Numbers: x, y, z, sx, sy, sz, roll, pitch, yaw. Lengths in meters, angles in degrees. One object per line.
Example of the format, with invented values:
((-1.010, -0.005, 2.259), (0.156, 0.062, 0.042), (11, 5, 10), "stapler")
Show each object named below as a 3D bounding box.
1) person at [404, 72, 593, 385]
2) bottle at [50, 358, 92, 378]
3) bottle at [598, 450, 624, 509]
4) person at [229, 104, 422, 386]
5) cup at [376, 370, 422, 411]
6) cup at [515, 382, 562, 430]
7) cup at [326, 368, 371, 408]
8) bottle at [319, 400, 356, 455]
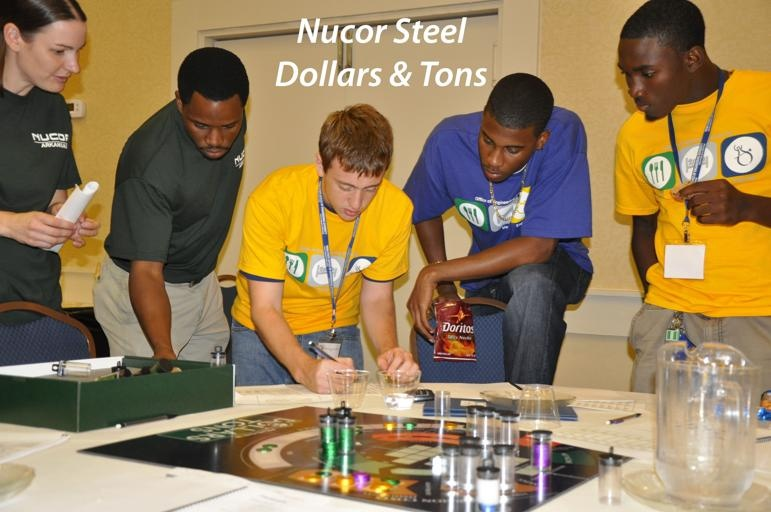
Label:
((0.541, -0.143, 3.247), (0.834, 1.379, 0.647), (4, 11, 16), "person")
((-1.002, 0.359, 2.216), (0.120, 0.045, 0.054), (1, 2, 4), "bottle")
((0.557, 0.534, 1.693), (0.062, 0.109, 0.112), (5, 11, 18), "bottle")
((-0.206, 0.030, 2.889), (0.729, 1.299, 1.123), (-3, 12, -23), "person")
((0.046, 0.447, 2.306), (0.127, 0.096, 0.123), (0, -5, 0), "cup")
((0.485, 0.472, 2.172), (0.128, 0.092, 0.124), (0, -3, 0), "cup")
((-0.131, 0.433, 2.277), (0.126, 0.098, 0.126), (0, -5, 0), "cup")
((-0.123, 0.468, 1.920), (0.107, 0.164, 0.125), (-1, 3, -15), "bottle")
